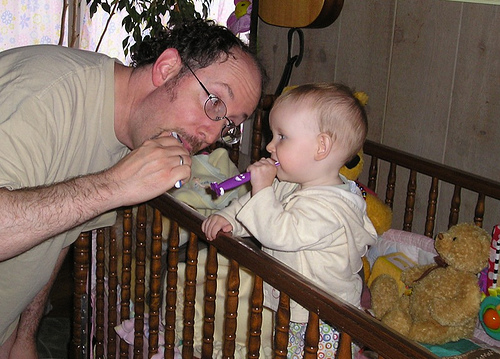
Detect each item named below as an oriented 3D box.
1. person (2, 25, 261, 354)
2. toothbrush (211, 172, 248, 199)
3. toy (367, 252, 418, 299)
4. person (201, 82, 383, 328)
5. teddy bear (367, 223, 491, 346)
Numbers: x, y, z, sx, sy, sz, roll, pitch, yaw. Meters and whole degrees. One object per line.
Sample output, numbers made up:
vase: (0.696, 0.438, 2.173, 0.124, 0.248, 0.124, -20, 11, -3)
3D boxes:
person: (-0.482, -0.213, 1.829, 0.963, 0.879, 0.688, -4, 14, -31)
toothbrush: (-0.084, 0.024, 1.893, 0.141, 0.084, 0.039, -26, 11, -10)
toy: (0.769, 0.468, 2.408, 0.215, 0.222, 0.210, 42, -28, -20)
person: (0.206, 0.335, 2.142, 0.683, 1.535, 0.631, 4, 11, -13)
teddy bear: (0.815, 0.457, 2.094, 0.500, 0.539, 0.345, 11, 14, 31)
